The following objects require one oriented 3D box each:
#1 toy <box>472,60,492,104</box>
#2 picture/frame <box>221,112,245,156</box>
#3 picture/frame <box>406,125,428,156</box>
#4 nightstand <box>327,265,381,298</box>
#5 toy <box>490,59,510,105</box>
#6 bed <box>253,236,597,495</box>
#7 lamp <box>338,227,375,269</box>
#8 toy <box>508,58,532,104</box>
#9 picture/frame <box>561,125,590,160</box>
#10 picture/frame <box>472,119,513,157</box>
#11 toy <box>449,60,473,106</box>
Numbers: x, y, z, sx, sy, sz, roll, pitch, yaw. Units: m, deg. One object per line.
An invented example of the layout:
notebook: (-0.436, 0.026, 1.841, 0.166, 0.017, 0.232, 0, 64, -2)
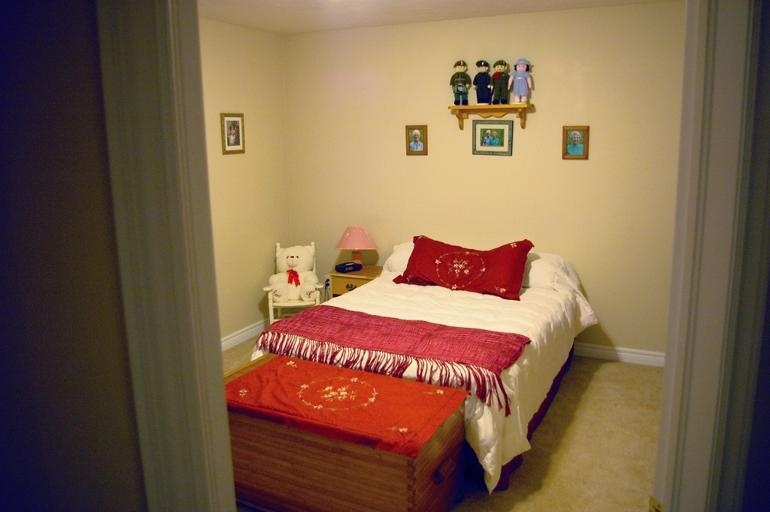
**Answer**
toy: (0.829, -1.472, 4.782, 0.153, 0.352, 0.096, 1, 14, 8)
picture/frame: (-1.353, -1.084, 4.977, 0.028, 0.388, 0.357, 7, 15, 25)
picture/frame: (0.297, -1.060, 5.119, 0.266, 0.342, 0.024, 3, 8, 24)
nightstand: (-0.256, 0.212, 5.301, 0.383, 0.361, 0.299, 3, 6, 25)
toy: (0.967, -1.450, 4.722, 0.159, 0.349, 0.085, 1, 14, 9)
bed: (0.416, 0.592, 4.424, 2.027, 0.976, 2.458, 4, 12, 29)
lamp: (-0.251, -0.074, 5.414, 0.359, 0.397, 0.369, 2, 11, 18)
toy: (1.117, -1.438, 4.656, 0.191, 0.352, 0.163, 3, 15, 16)
picture/frame: (1.554, -0.929, 4.580, 0.262, 0.353, 0.034, 5, 10, 26)
picture/frame: (0.938, -1.024, 4.851, 0.316, 0.281, 0.022, 5, 11, 24)
toy: (0.655, -1.492, 4.866, 0.181, 0.369, 0.131, 0, 14, 6)
